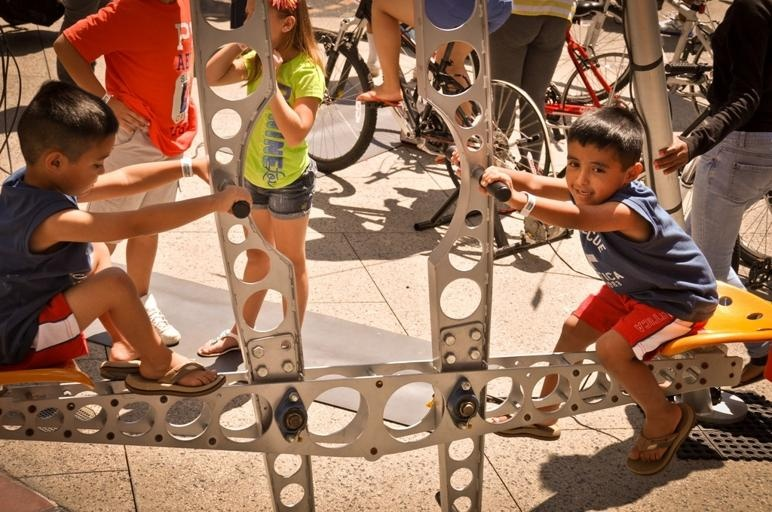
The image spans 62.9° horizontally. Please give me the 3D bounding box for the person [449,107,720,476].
[{"bbox_3d":[1.190,0.227,3.697,1.314,1.916,0.948,5,10,24],"label":"person"}]

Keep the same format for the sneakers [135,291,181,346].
[{"bbox_3d":[-1.459,0.411,4.059,0.431,0.267,0.146,39,54,23],"label":"sneakers"}]

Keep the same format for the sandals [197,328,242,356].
[{"bbox_3d":[-1.150,0.621,4.381,0.392,0.139,0.183,-4,19,-14],"label":"sandals"}]

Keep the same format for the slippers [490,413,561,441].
[{"bbox_3d":[0.820,1.015,3.679,0.403,0.142,0.227,1,6,-1],"label":"slippers"}]

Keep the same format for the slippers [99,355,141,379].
[{"bbox_3d":[-1.404,0.575,3.266,0.251,0.109,0.092,-2,-10,-3],"label":"slippers"}]

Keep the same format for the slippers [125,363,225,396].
[{"bbox_3d":[-1.049,0.612,3.151,0.343,0.111,0.206,2,9,-4],"label":"slippers"}]

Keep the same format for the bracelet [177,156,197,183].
[{"bbox_3d":[-1.076,-0.493,3.468,0.087,0.125,0.131,-4,-2,-15],"label":"bracelet"}]

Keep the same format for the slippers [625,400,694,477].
[{"bbox_3d":[1.513,1.052,3.539,0.264,0.465,0.156,38,15,30],"label":"slippers"}]
